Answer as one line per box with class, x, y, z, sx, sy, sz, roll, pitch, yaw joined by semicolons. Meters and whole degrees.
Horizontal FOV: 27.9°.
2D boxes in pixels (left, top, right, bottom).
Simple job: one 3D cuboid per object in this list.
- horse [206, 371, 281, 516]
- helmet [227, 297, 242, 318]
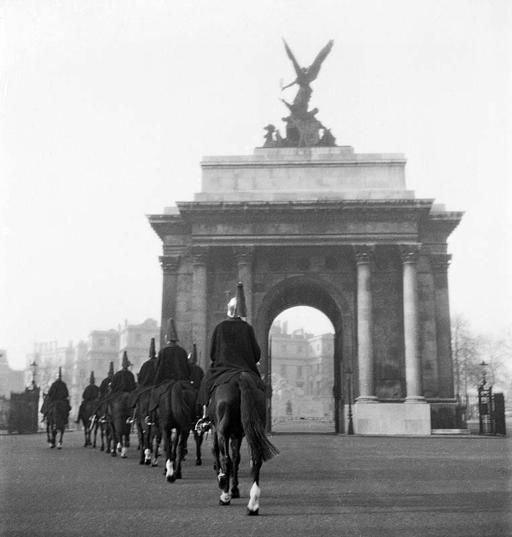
horse;-0.426;2.558;16.471;0.717;2.498;2.936;1;-4;-14
helmet;-0.393;0.632;16.858;0.247;0.346;0.309;2;-3;6
